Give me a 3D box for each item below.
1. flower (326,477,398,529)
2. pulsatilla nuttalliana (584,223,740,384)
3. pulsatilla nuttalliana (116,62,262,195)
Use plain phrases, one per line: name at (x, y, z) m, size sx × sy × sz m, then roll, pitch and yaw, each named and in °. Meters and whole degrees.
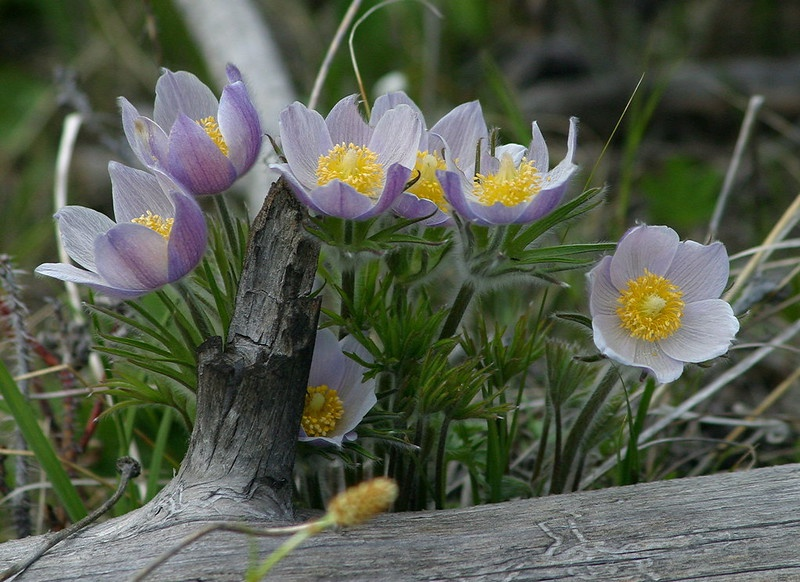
flower at (-0.071, 0.383, 1.813) m, size 0.130 × 0.064 × 0.068 m, roll -19°, pitch 30°, yaw 0°
pulsatilla nuttalliana at (0.553, 0.011, 2.186) m, size 0.272 × 0.359 × 0.149 m, roll 17°, pitch 64°, yaw -8°
pulsatilla nuttalliana at (-0.406, -0.319, 2.099) m, size 0.282 × 0.259 × 0.248 m, roll -2°, pitch 35°, yaw 33°
